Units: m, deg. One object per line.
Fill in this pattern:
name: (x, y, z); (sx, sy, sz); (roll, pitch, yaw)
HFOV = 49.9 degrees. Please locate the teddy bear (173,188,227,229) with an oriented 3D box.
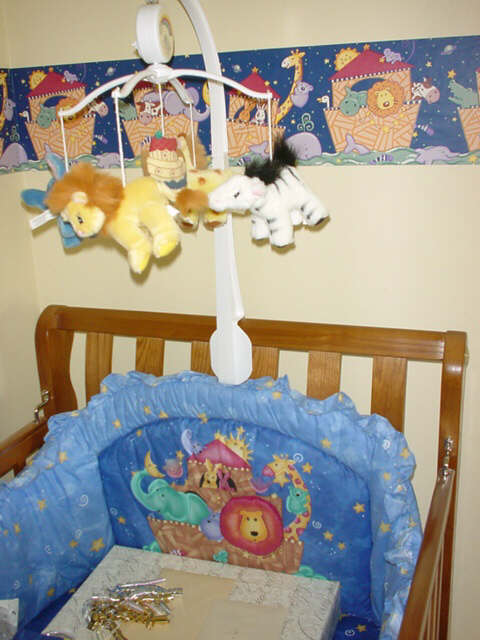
teddy bear: (-0.073, -0.193, 0.895); (0.086, 0.072, 0.121); (-4, 13, 8)

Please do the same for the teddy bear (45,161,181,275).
teddy bear: (-0.207, -0.166, 0.841); (0.207, 0.185, 0.115); (-8, 13, -8)

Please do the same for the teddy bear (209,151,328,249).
teddy bear: (0.060, -0.223, 0.909); (0.218, 0.161, 0.085); (-34, 29, -21)
